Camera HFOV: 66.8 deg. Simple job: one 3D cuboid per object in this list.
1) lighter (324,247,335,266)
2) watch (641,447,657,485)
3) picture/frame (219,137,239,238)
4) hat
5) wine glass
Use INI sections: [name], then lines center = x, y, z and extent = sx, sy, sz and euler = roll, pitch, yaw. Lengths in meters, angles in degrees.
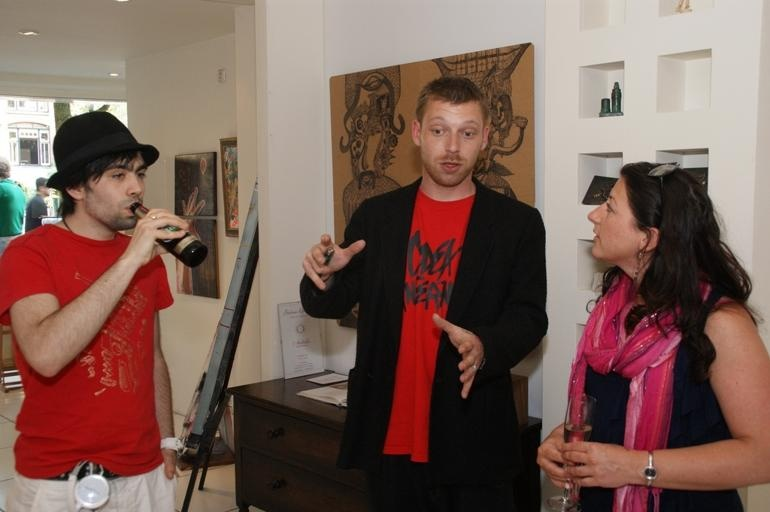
[lighter]
center = -0.218, -0.003, 2.277
extent = 0.033, 0.061, 0.023
euler = 15, 8, 17
[watch]
center = 0.869, 0.696, 1.916
extent = 0.029, 0.069, 0.076
euler = -5, 3, -13
[picture/frame]
center = -0.911, -0.411, 3.429
extent = 0.049, 0.581, 0.154
euler = 1, 5, 22
[hat]
center = -1.040, -0.365, 2.152
extent = 0.326, 0.178, 0.274
euler = -29, 1, -5
[wine glass]
center = 0.648, 0.692, 2.058
extent = 0.152, 0.457, 0.143
euler = -1, 4, 2
